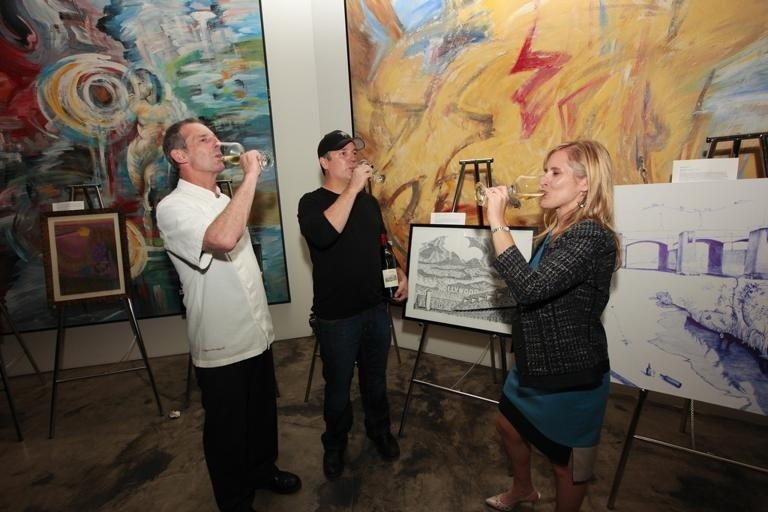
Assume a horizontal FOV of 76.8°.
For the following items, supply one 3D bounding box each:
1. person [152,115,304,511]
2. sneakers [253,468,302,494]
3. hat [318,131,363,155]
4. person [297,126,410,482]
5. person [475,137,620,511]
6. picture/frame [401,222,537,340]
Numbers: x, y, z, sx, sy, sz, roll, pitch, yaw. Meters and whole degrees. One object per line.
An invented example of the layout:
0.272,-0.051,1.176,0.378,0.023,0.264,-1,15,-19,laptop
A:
-1.081,0.436,3.391,0.703,2.742,0.694,-8,14,-25,person
-0.757,1.670,3.574,0.361,0.213,0.149,-1,13,-5,sneakers
-0.348,-0.858,3.752,0.298,0.143,0.193,-23,5,16,hat
-0.226,0.337,3.781,0.756,2.573,0.782,-4,13,-9,person
1.094,0.548,3.207,0.850,2.548,0.634,2,14,16,person
0.664,0.167,3.717,1.025,0.798,0.068,4,2,27,picture/frame
